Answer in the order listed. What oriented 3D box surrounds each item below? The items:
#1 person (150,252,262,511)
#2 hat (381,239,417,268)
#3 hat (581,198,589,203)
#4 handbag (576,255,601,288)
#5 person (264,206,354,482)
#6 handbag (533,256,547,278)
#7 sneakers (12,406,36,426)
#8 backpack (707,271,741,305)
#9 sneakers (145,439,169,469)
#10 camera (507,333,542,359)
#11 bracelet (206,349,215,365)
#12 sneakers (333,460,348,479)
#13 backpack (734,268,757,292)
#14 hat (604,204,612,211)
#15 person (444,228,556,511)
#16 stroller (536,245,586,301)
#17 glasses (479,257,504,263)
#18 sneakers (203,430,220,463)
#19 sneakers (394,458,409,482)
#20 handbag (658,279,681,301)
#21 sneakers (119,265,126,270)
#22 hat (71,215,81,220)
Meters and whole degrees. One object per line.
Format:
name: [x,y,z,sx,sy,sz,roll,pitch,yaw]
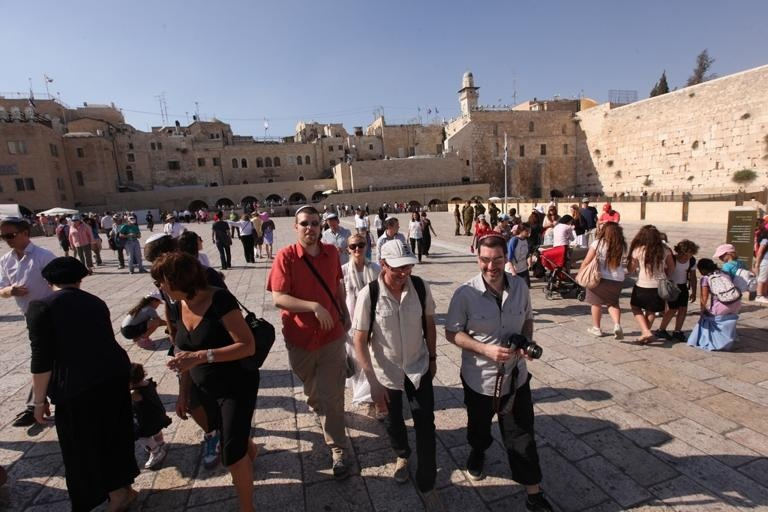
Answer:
person: [-1.765,1.322,5.068,0.905,2.738,0.578,1,11,15]
hat: [0.138,-0.033,5.168,0.366,0.280,0.268,-3,10,-3]
hat: [5.040,-1.385,12.471,0.222,0.097,0.305,-3,4,9]
handbag: [3.175,0.271,7.731,0.343,0.502,0.157,5,13,34]
person: [-0.759,0.926,5.697,0.927,2.943,0.687,3,12,29]
handbag: [3.405,0.229,10.893,0.195,0.461,0.465,-1,6,-1]
sneakers: [-4.529,2.058,6.367,0.422,0.162,0.177,4,0,-30]
backpack: [5.011,0.477,7.322,0.307,0.410,0.231,-27,-26,17]
sneakers: [-2.658,2.315,5.778,0.128,0.158,0.369,2,8,-3]
camera: [1.448,0.934,5.059,0.267,0.151,0.276,20,6,-38]
bracelet: [-1.718,0.994,4.945,0.076,0.120,0.121,-2,11,-16]
sneakers: [-0.481,2.376,5.532,0.187,0.197,0.114,-5,11,-15]
backpack: [5.380,0.369,7.497,0.271,0.319,0.357,-11,-24,29]
hat: [5.740,-1.256,12.798,0.126,0.174,0.471,2,11,21]
person: [1.209,1.201,5.283,1.075,2.861,0.626,3,12,25]
stroller: [3.363,0.348,10.060,0.805,1.253,1.039,-2,3,-32]
glasses: [1.113,0.045,5.162,0.252,0.069,0.091,0,10,9]
sneakers: [-1.996,2.223,5.714,0.160,0.198,0.470,1,-9,-6]
sneakers: [0.188,2.372,5.460,0.116,0.121,0.312,3,10,-1]
handbag: [4.223,0.522,7.396,0.182,0.342,0.323,-2,-2,-41]
sneakers: [-7.989,0.365,15.091,0.104,0.117,0.297,1,1,-43]
hat: [-8.244,-1.008,13.265,0.198,0.164,0.213,-9,11,-15]
